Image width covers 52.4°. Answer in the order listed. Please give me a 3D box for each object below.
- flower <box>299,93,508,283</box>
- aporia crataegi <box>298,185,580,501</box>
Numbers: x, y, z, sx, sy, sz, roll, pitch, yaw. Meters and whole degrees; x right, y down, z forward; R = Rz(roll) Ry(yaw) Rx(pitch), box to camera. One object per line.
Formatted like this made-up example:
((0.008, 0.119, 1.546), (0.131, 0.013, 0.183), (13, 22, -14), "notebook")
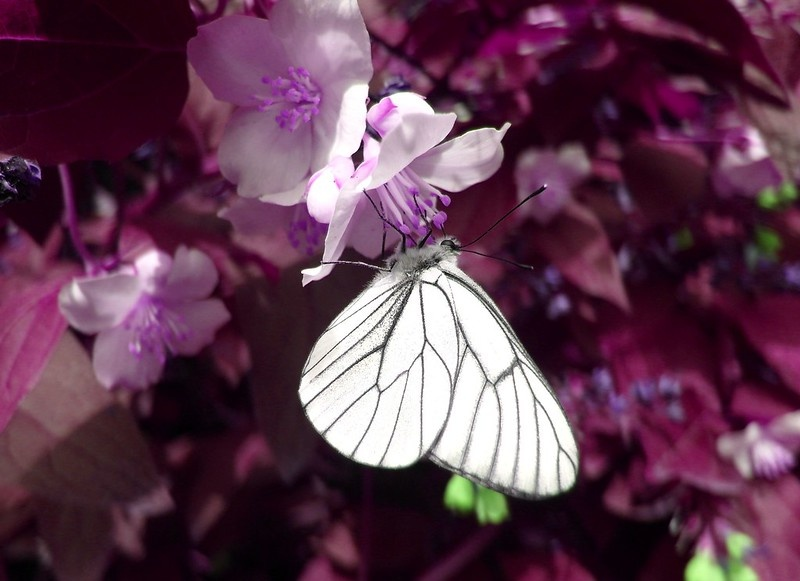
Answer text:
((0.007, -0.109, 0.834), (0.202, 0.183, 0.139), (1, 16, 7), "flower")
((0.050, 0.053, 1.049), (0.407, 0.367, 0.164), (19, -23, -26), "aporia crataegi")
